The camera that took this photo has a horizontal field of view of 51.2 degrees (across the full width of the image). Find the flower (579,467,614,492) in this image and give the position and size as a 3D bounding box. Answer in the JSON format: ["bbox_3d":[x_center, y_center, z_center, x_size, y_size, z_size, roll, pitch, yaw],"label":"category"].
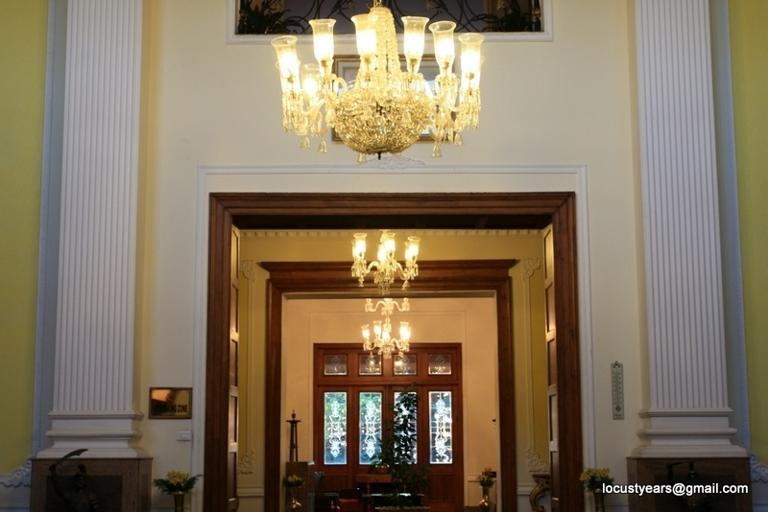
[{"bbox_3d":[2.275,2.394,8.553,0.339,0.255,0.286,-4,-15,15],"label":"flower"}]

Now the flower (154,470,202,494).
[{"bbox_3d":[-2.201,2.419,8.540,0.471,0.249,0.307,2,-15,-10],"label":"flower"}]

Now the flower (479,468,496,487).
[{"bbox_3d":[1.911,4.091,14.719,0.263,0.333,0.586,-2,-15,8],"label":"flower"}]

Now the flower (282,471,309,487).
[{"bbox_3d":[-1.406,3.568,12.618,0.344,0.172,0.218,2,-15,-8],"label":"flower"}]

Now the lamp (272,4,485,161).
[{"bbox_3d":[0.096,-1.187,7.356,1.502,1.409,1.596,0,2,20],"label":"lamp"}]

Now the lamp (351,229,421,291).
[{"bbox_3d":[0.026,0.093,11.561,0.859,0.877,0.919,2,-8,7],"label":"lamp"}]
